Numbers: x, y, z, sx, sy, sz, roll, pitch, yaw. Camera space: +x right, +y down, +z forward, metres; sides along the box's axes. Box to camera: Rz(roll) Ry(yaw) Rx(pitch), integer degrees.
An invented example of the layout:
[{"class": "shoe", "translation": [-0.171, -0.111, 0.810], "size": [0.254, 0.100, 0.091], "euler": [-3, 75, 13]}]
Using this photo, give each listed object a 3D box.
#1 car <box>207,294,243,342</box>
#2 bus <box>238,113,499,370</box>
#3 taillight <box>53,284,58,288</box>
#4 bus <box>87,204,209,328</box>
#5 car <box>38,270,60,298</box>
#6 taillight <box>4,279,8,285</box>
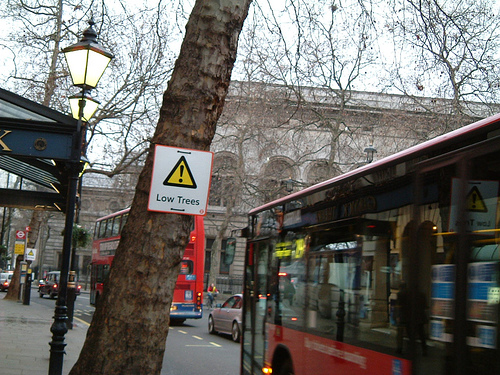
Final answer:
[{"class": "car", "translation": [-0.785, 4.374, 17.725], "size": [1.100, 1.186, 2.488], "euler": [6, -9, -22]}, {"class": "bus", "translation": [1.268, 1.060, 6.612], "size": [0.644, 2.666, 4.864], "euler": [9, -16, -26]}, {"class": "taillight", "translation": [-13.951, 7.049, 37.546], "size": [0.355, 0.355, 0.090], "euler": [-5, -9, 33]}, {"class": "bus", "translation": [-5.547, 3.760, 24.675], "size": [6.392, 3.771, 1.867], "euler": [5, -21, -29]}, {"class": "car", "translation": [-14.874, 7.183, 39.028], "size": [1.055, 2.075, 4.530], "euler": [8, -16, -24]}, {"class": "taillight", "translation": [-21.815, 8.503, 46.815], "size": [0.311, 0.477, 0.330], "euler": [3, -10, -9]}]
